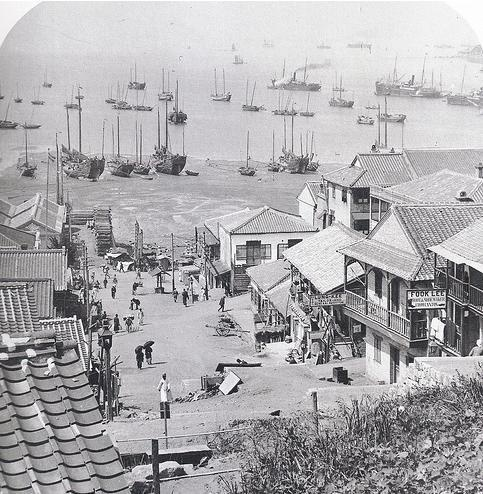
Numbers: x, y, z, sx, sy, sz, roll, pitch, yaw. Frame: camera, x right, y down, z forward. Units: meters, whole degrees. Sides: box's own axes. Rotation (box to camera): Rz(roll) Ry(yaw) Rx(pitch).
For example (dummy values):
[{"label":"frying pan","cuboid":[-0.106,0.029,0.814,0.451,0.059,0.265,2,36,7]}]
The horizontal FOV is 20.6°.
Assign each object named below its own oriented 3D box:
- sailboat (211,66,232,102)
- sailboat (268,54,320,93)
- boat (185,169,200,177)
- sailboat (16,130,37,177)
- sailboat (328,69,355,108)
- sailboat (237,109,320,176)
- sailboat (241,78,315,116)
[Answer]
[{"label":"sailboat","cuboid":[-1.940,-15.662,128.526,1.434,3.260,4.091,-2,8,-13]},{"label":"sailboat","cuboid":[5.621,-16.361,127.715,5.946,4.206,1.924,3,3,-3]},{"label":"boat","cuboid":[-5.097,-7.587,135.948,0.624,0.692,2.013,-7,10,-39]},{"label":"sailboat","cuboid":[-21.178,-9.095,129.759,1.707,4.742,3.240,-2,8,-10]},{"label":"sailboat","cuboid":[9.508,-14.496,127.509,2.718,4.517,1.583,1,13,8]},{"label":"sailboat","cuboid":[6.688,-9.645,133.160,3.484,8.481,11.907,-2,5,-37]},{"label":"sailboat","cuboid":[4.359,-14.830,129.433,9.619,5.089,2.907,5,14,18]}]
